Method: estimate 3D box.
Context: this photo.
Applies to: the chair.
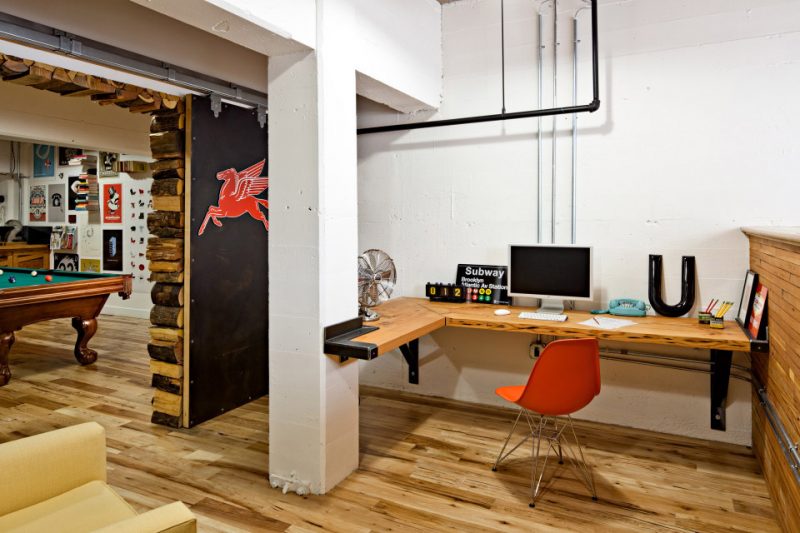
[{"bbox_3d":[1.224,1.158,4.469,0.799,1.286,0.852,1,2,-13],"label":"chair"}]
